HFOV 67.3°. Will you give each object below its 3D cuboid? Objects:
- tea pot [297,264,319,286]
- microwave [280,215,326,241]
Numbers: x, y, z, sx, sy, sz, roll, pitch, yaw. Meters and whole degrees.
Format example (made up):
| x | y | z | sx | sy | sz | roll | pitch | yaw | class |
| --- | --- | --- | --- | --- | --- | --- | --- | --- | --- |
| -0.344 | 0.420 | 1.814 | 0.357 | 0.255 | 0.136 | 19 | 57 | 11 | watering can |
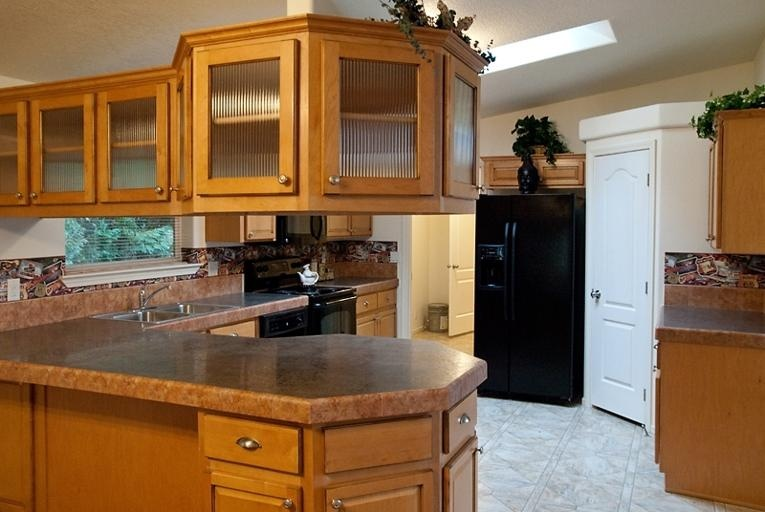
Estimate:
| x | y | z | sx | sy | sz | roll | pitch | yaw | class |
| --- | --- | --- | --- | --- | --- | --- | --- | --- | --- |
| -0.727 | 0.207 | 5.897 | 0.266 | 0.231 | 0.170 | 2 | -5 | -25 | tea pot |
| -0.836 | -0.197 | 5.851 | 0.284 | 0.298 | 0.506 | -2 | -2 | 21 | microwave |
